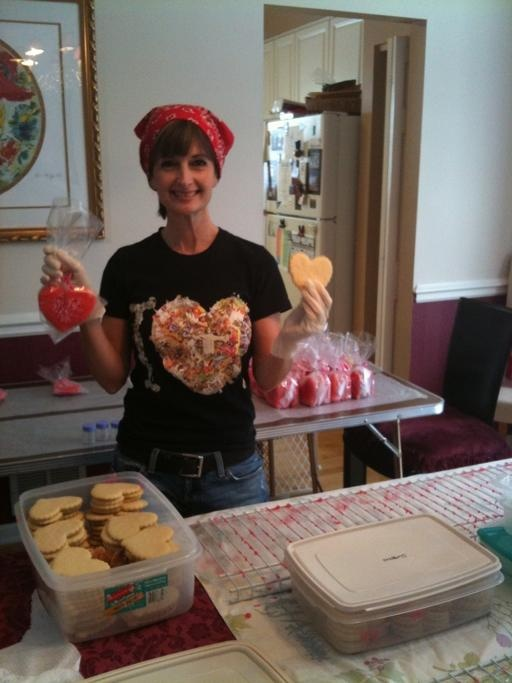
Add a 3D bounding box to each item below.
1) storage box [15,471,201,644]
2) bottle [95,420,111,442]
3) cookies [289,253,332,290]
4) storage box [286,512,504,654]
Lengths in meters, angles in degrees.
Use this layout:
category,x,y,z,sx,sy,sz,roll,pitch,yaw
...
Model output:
category,x,y,z,sx,sy,sz,roll,pitch,yaw
storage box,-0.205,0.259,0.764,0.183,0.084,0.219,-6,23,-26
bottle,-0.472,0.278,1.686,0.054,0.052,0.054,-2,5,-21
cookies,0.107,-0.141,1.083,0.076,0.074,0.157,0,6,3
storage box,0.189,0.312,0.723,0.188,0.052,0.145,-8,15,-25
